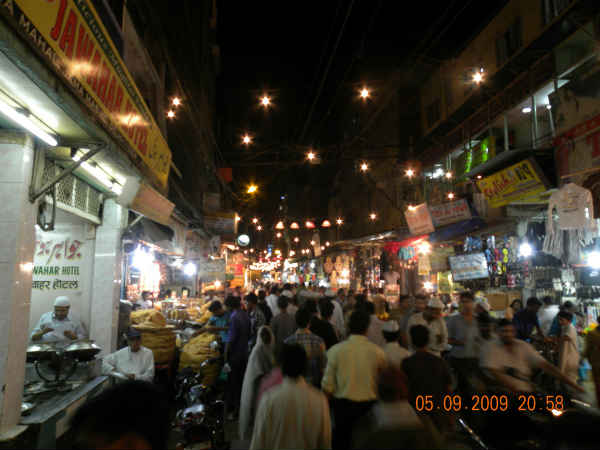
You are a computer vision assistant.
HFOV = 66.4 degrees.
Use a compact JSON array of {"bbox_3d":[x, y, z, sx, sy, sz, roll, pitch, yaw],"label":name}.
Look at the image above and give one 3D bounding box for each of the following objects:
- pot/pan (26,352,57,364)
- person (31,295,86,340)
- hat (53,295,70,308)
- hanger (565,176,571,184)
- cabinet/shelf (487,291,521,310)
[{"bbox_3d":[-3.712,1.879,6.566,0.270,0.077,0.301,1,-7,-9],"label":"pot/pan"},{"bbox_3d":[-4.175,1.600,7.830,0.748,1.163,0.609,4,-16,-21],"label":"person"},{"bbox_3d":[-4.042,1.307,7.829,0.220,0.174,0.230,2,-3,3],"label":"hat"},{"bbox_3d":[5.838,-0.943,9.939,0.091,0.136,0.243,-9,-13,28],"label":"hanger"},{"bbox_3d":[5.155,1.913,11.789,0.544,0.370,0.556,-1,0,4],"label":"cabinet/shelf"}]
